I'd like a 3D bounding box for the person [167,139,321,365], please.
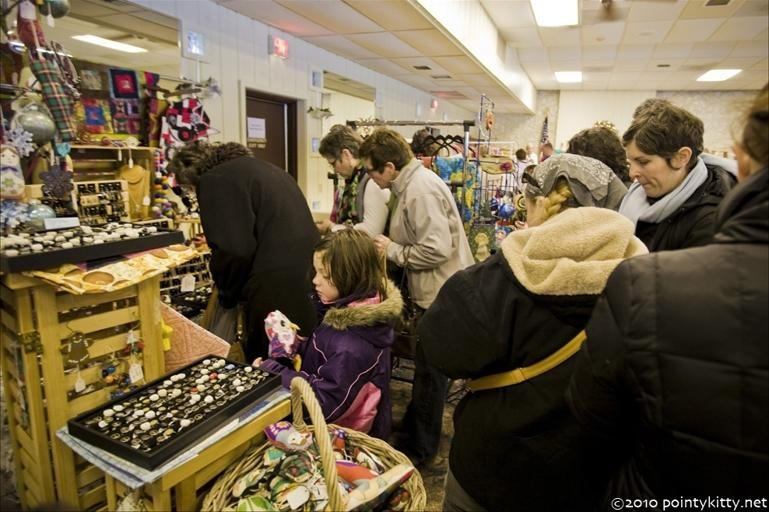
[{"bbox_3d":[-0.783,0.098,3.094,0.893,1.660,0.710,10,26,22],"label":"person"}]
